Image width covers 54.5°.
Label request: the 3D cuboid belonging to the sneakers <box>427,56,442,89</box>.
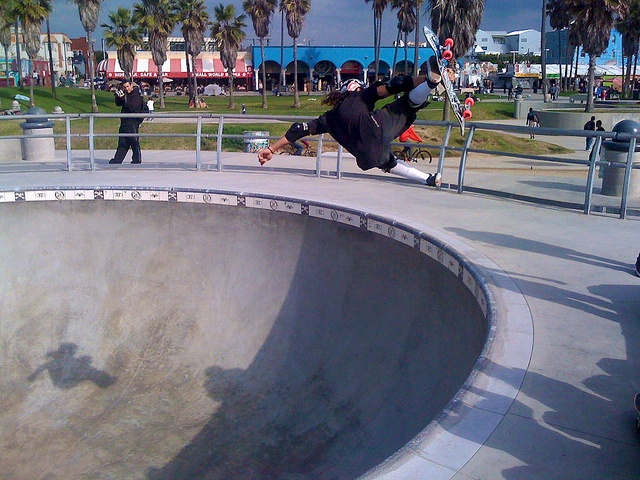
[{"bbox_3d":[1.294,-1.892,6.974,0.173,0.352,0.220,2,9,12],"label":"sneakers"}]

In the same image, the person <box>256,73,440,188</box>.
[{"bbox_3d":[0.679,-1.239,7.648,1.407,0.775,1.444,-21,32,-29],"label":"person"}]

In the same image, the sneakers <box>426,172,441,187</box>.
[{"bbox_3d":[1.690,-0.895,9.235,0.181,0.135,0.279,-17,-5,36],"label":"sneakers"}]

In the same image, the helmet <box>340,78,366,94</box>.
[{"bbox_3d":[0.414,-1.977,7.915,0.205,0.132,0.316,-1,15,12],"label":"helmet"}]

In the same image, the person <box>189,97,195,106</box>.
[{"bbox_3d":[-9.183,-9.907,44.389,0.367,0.717,2.348,-2,10,-11],"label":"person"}]

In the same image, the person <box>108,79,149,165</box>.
[{"bbox_3d":[-4.149,-2.562,13.348,0.817,1.832,1.246,-3,10,-21],"label":"person"}]

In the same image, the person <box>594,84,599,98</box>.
[{"bbox_3d":[24.963,-13.241,55.642,0.411,1.044,1.664,4,10,23],"label":"person"}]
